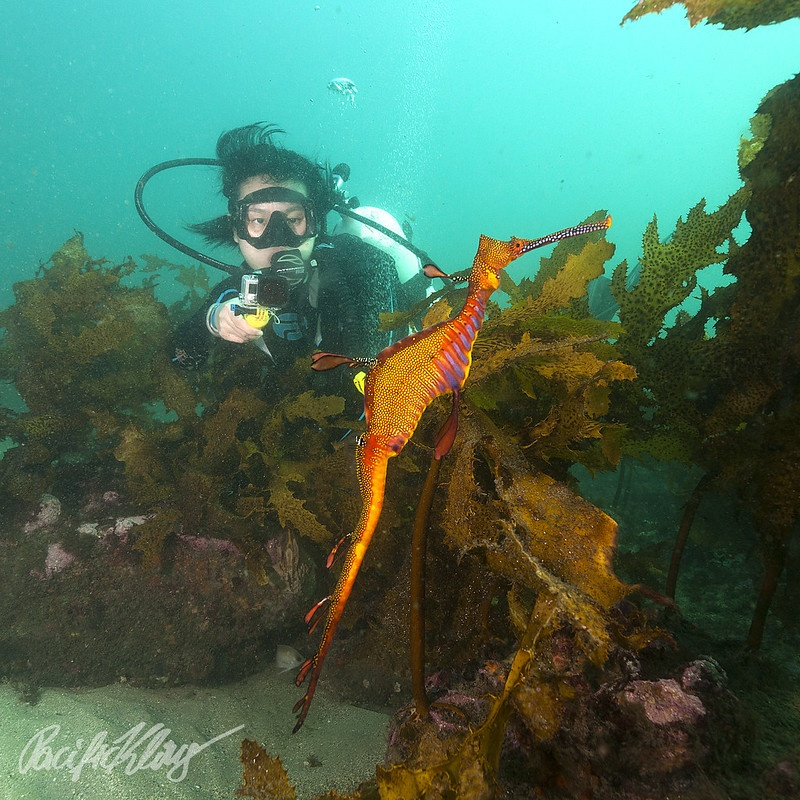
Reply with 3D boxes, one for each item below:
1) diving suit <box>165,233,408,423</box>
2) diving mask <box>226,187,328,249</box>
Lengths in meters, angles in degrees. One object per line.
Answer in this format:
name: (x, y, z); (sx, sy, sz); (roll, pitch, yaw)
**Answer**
diving suit: (-0.454, -0.586, 5.433); (0.974, 0.416, 1.329); (21, 37, 21)
diving mask: (-0.922, -1.346, 6.387); (0.559, 0.470, 0.785); (-3, 11, 0)
